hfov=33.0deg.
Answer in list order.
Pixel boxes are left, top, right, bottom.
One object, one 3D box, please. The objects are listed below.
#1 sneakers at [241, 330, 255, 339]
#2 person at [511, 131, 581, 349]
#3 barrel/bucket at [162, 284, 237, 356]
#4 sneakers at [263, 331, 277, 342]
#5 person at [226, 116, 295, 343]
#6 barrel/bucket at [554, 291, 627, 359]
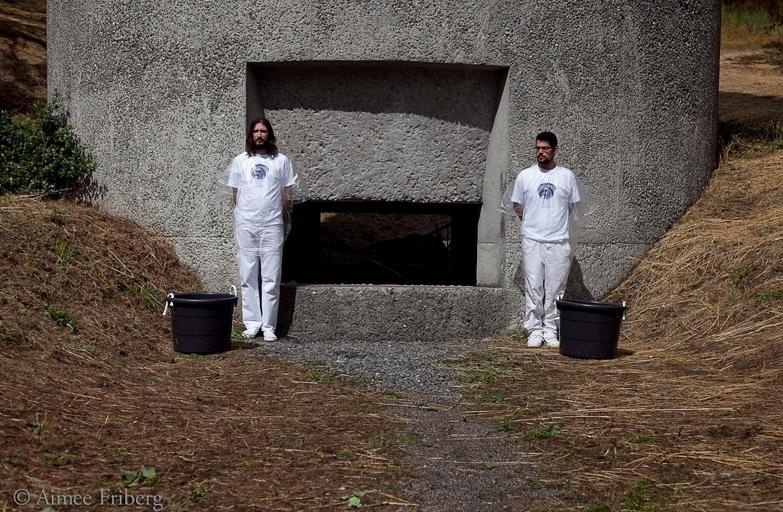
[{"bbox_3d":[-1.738,0.930,15.813,0.132,0.047,0.159,1,1,1],"label":"sneakers"},{"bbox_3d":[1.812,-0.209,15.780,0.807,2.493,0.712,3,13,9],"label":"person"},{"bbox_3d":[-2.293,0.744,15.378,1.048,0.666,0.946,0,0,-35],"label":"barrel/bucket"},{"bbox_3d":[-1.479,0.948,15.756,0.142,0.080,0.227,1,-2,-11],"label":"sneakers"},{"bbox_3d":[-1.566,-0.313,15.718,0.804,2.565,0.540,0,13,-6],"label":"person"},{"bbox_3d":[2.286,0.827,15.221,0.840,0.546,0.706,3,-17,5],"label":"barrel/bucket"}]
